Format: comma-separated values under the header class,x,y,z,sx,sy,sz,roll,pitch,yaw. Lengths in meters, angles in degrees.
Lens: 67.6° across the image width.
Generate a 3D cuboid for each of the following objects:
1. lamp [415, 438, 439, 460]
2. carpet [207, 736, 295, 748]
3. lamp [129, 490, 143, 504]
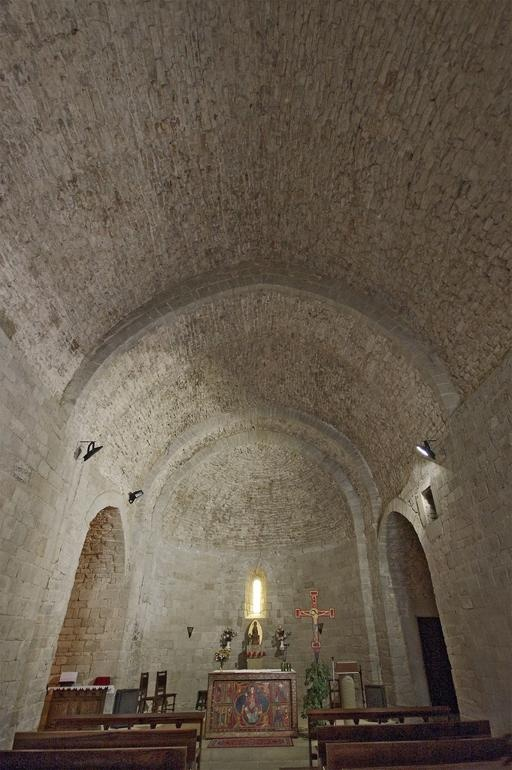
class,x,y,z,sx,sy,sz,roll,pitch,yaw
lamp,2.293,0.870,5.083,0.292,0.203,0.136,0,-31,-43
carpet,-0.064,4.833,5.159,1.145,0.110,0.331,5,-31,-3
lamp,-2.293,2.123,7.323,0.279,0.075,0.284,-51,-39,14
